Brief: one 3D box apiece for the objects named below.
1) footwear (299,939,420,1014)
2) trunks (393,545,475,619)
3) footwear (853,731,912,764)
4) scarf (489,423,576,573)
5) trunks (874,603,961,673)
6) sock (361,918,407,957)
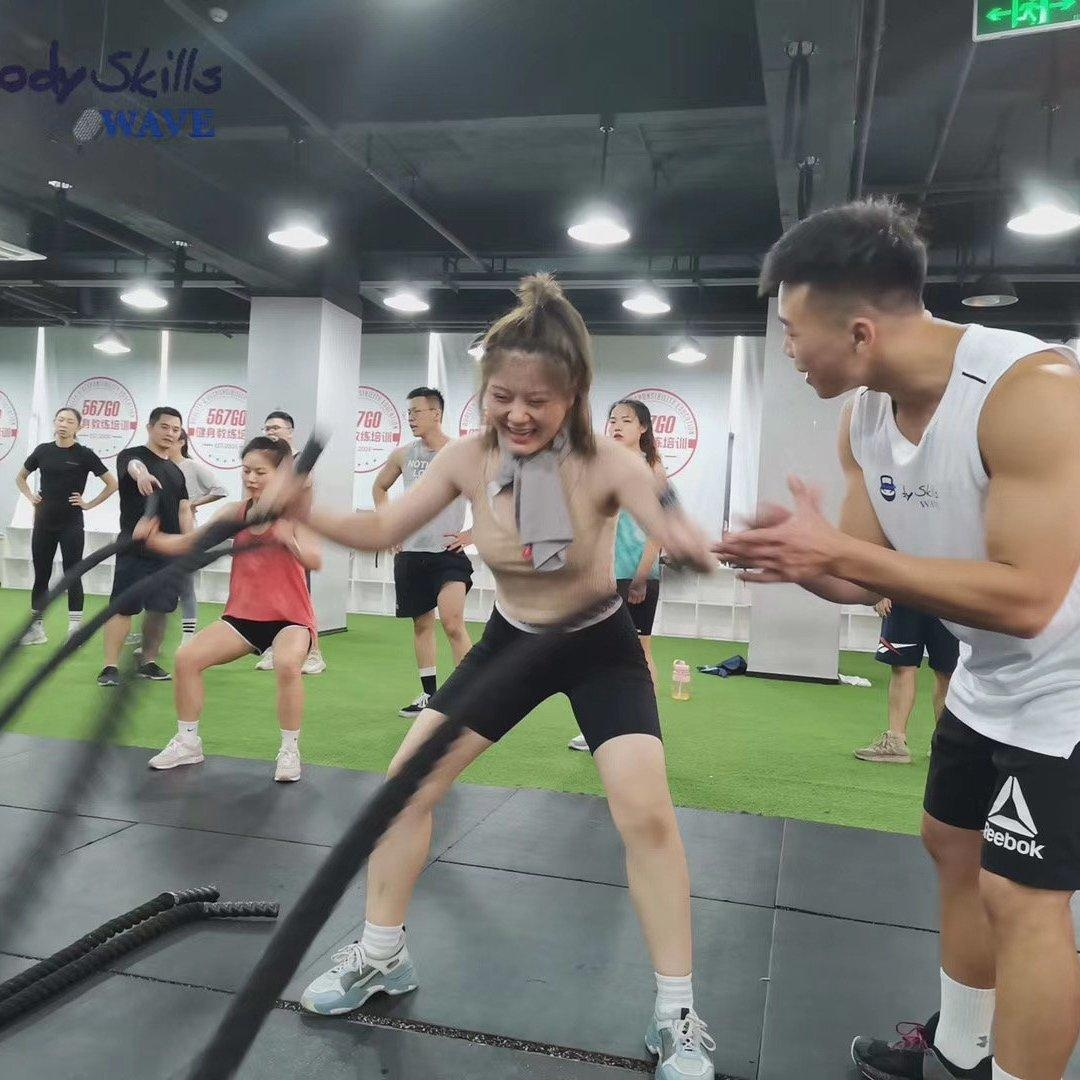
[{"bbox_3d":[-0.445,1.079,2.116,0.335,0.156,0.118,-1,-3,-31],"label":"footwear"},{"bbox_3d":[-0.646,0.268,5.262,0.532,0.433,0.301,-4,-10,7],"label":"trunks"},{"bbox_3d":[1.944,1.214,4.917,0.386,0.214,0.145,2,-6,18],"label":"footwear"},{"bbox_3d":[-0.024,-0.059,1.320,0.116,0.059,0.294,-15,48,7],"label":"scarf"},{"bbox_3d":[2.114,0.523,4.657,0.430,0.384,0.240,2,3,19],"label":"trunks"},{"bbox_3d":[-0.378,0.965,2.017,0.096,0.102,0.121,2,1,1],"label":"sock"}]
